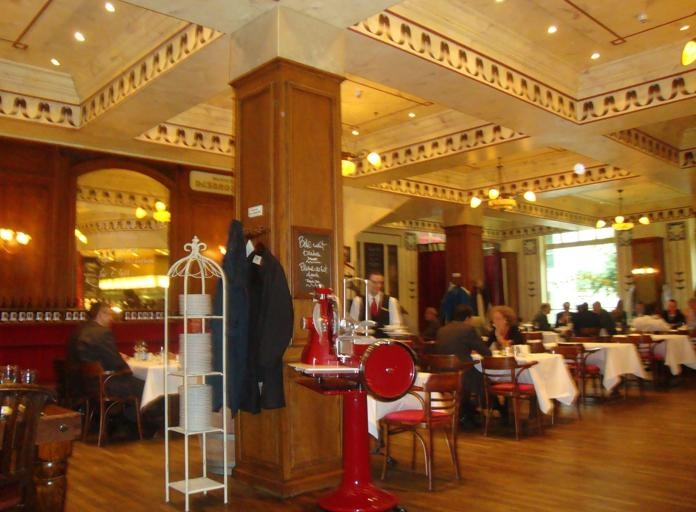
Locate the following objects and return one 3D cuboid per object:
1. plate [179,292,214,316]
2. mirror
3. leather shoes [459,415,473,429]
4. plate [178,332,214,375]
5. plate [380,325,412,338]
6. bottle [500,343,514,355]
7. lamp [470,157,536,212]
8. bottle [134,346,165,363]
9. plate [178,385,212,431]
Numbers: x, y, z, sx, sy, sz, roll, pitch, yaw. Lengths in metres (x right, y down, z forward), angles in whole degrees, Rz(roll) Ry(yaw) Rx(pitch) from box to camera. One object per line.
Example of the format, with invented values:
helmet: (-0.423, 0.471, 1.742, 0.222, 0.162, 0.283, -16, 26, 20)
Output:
plate: (-1.406, 0.456, 5.643, 0.289, 0.206, 0.201, 0, 0, -17)
mirror: (-3.943, -0.248, 10.675, 1.498, 2.497, 0.724, 0, 1, -25)
leather shoes: (1.674, 2.295, 8.388, 0.141, 0.225, 0.129, 2, -19, -15)
plate: (-1.377, 0.892, 5.523, 0.356, 0.356, 0.332, -1, -5, 11)
plate: (0.727, 1.085, 8.698, 0.295, 0.112, 0.318, 1, -1, 38)
bottle: (2.140, 1.270, 8.189, 0.148, 0.133, 0.144, 0, -7, 3)
lamp: (3.254, -1.613, 12.946, 1.400, 1.333, 1.393, 0, -4, 18)
bottle: (-2.722, 1.370, 8.331, 0.377, 0.116, 0.365, 1, -4, 0)
plate: (-1.368, 1.382, 5.534, 0.377, 0.392, 0.362, -1, -7, 9)
